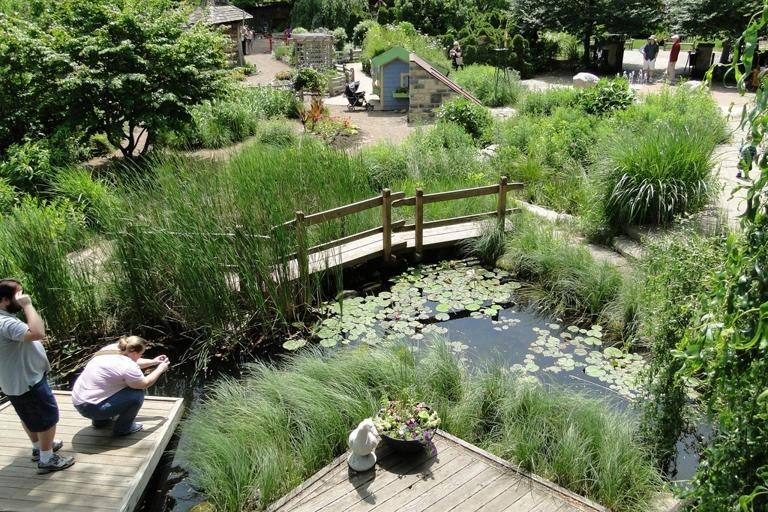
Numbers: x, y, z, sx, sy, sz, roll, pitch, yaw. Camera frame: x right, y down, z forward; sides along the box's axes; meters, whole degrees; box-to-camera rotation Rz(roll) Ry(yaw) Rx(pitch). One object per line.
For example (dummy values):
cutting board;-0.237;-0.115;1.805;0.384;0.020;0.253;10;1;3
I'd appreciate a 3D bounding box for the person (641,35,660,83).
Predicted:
person;9.671;-7.136;23.123;0.468;1.565;2.782;7;23;21

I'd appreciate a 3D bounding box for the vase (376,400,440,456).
vase;0.257;2.060;7.739;0.792;0.542;0.533;4;22;13

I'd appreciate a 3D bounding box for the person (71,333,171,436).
person;-3.348;1.616;8.108;0.727;1.205;1.086;15;10;40

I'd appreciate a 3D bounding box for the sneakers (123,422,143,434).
sneakers;-3.182;2.164;7.958;0.207;0.094;0.099;-17;30;-41

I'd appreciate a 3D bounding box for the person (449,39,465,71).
person;2.985;-8.206;26.382;0.604;1.092;2.190;1;22;6

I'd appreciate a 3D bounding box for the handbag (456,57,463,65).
handbag;3.061;-7.892;26.034;0.324;0.233;0.192;-22;53;-20

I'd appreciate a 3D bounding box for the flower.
flower;0.202;2.070;7.866;0.917;0.561;0.944;5;21;-3

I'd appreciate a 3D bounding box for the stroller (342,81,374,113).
stroller;-1.009;-5.472;21.914;1.223;1.356;0.851;-4;41;-1
